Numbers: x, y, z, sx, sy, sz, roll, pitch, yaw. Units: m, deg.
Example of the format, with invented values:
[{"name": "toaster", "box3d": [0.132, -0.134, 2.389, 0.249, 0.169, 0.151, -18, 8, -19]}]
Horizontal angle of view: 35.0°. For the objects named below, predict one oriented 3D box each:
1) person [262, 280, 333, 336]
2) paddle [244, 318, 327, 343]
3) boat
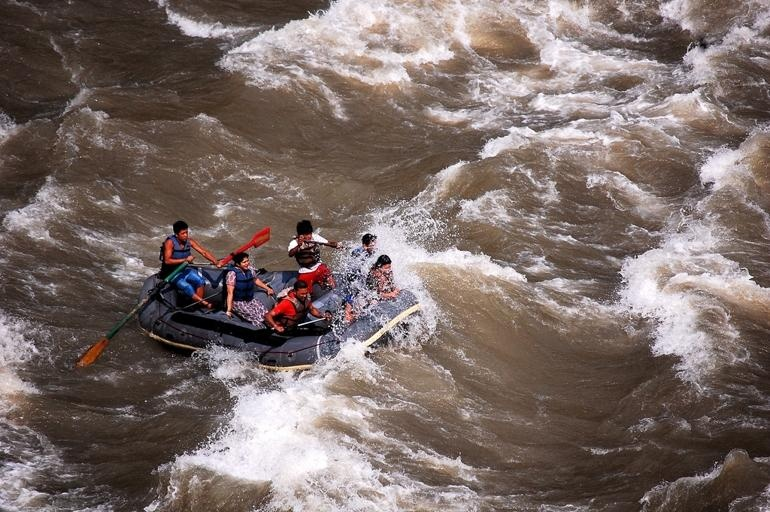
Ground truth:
[{"name": "person", "box3d": [-2.131, 1.339, 29.971, 0.754, 1.381, 1.089, 52, 44, 7]}, {"name": "paddle", "box3d": [-2.314, 1.882, 29.904, 1.576, 0.782, 0.219, -5, 91, -18]}, {"name": "boat", "box3d": [-3.223, 1.750, 30.118, 5.704, 0.887, 2.714, 8, 27, 10]}]
